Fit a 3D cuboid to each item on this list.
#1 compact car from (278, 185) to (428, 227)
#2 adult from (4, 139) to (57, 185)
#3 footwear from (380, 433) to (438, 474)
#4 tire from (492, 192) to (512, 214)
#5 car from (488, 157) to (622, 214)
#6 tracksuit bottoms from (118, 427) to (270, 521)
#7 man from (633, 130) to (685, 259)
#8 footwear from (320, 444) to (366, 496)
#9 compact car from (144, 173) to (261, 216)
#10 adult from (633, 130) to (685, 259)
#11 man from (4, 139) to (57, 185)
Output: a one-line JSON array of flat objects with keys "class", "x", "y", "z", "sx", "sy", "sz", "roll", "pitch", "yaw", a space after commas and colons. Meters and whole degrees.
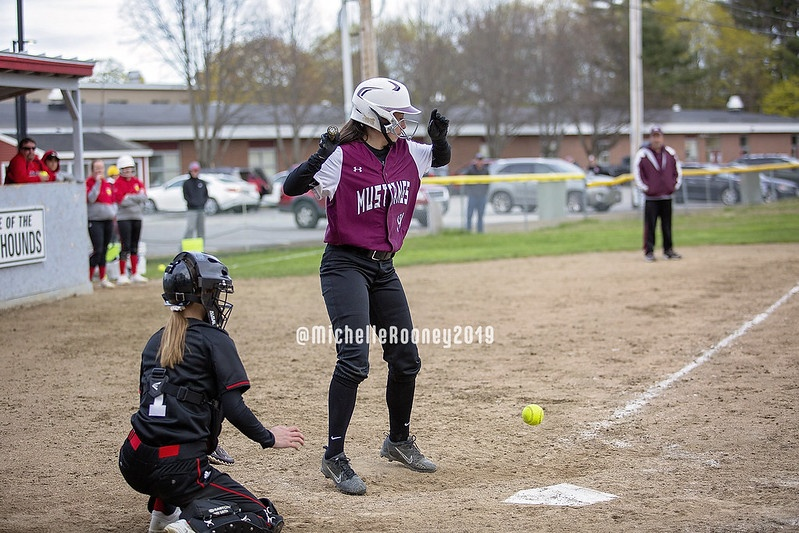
[{"class": "compact car", "x": -1.661, "y": -1.272, "z": 29.640, "sx": 2.989, "sy": 1.258, "sz": 1.380, "roll": 1, "pitch": 4, "yaw": 28}, {"class": "adult", "x": -5.257, "y": -1.542, "z": 19.350, "sx": 0.785, "sy": 0.728, "sz": 0.534, "roll": 5, "pitch": 9, "yaw": 29}, {"class": "footwear", "x": 0.073, "y": 1.988, "z": 14.286, "sx": 0.701, "sy": 0.349, "sz": 0.262, "roll": 17, "pitch": 6, "yaw": 10}, {"class": "tire", "x": 1.349, "y": -0.849, "z": 17.687, "sx": 0.295, "sy": 0.292, "sz": 0.097, "roll": -27, "pitch": 9, "yaw": -37}, {"class": "car", "x": 1.819, "y": -1.015, "z": 17.047, "sx": 1.625, "sy": 0.639, "sz": 0.745, "roll": 0, "pitch": 10, "yaw": 21}, {"class": "tracksuit bottoms", "x": -2.052, "y": 1.920, "z": 13.278, "sx": 1.127, "sy": 0.823, "sz": 0.984, "roll": 3, "pitch": -5, "yaw": 37}, {"class": "man", "x": 3.309, "y": -0.929, "z": 16.985, "sx": 0.585, "sy": 1.683, "sz": 0.425, "roll": -2, "pitch": 5, "yaw": 9}, {"class": "footwear", "x": -0.612, "y": 2.177, "z": 13.814, "sx": 0.643, "sy": 0.317, "sz": 0.245, "roll": 30, "pitch": 42, "yaw": 35}, {"class": "compact car", "x": -4.731, "y": -1.717, "z": 32.136, "sx": 2.821, "sy": 0.977, "sz": 1.188, "roll": 1, "pitch": 4, "yaw": -19}, {"class": "adult", "x": 3.309, "y": -0.929, "z": 16.985, "sx": 0.585, "sy": 1.683, "sz": 0.425, "roll": -2, "pitch": 5, "yaw": 9}, {"class": "man", "x": -5.235, "y": -1.507, "z": 19.296, "sx": 0.785, "sy": 0.728, "sz": 0.534, "roll": 5, "pitch": 9, "yaw": 29}]
